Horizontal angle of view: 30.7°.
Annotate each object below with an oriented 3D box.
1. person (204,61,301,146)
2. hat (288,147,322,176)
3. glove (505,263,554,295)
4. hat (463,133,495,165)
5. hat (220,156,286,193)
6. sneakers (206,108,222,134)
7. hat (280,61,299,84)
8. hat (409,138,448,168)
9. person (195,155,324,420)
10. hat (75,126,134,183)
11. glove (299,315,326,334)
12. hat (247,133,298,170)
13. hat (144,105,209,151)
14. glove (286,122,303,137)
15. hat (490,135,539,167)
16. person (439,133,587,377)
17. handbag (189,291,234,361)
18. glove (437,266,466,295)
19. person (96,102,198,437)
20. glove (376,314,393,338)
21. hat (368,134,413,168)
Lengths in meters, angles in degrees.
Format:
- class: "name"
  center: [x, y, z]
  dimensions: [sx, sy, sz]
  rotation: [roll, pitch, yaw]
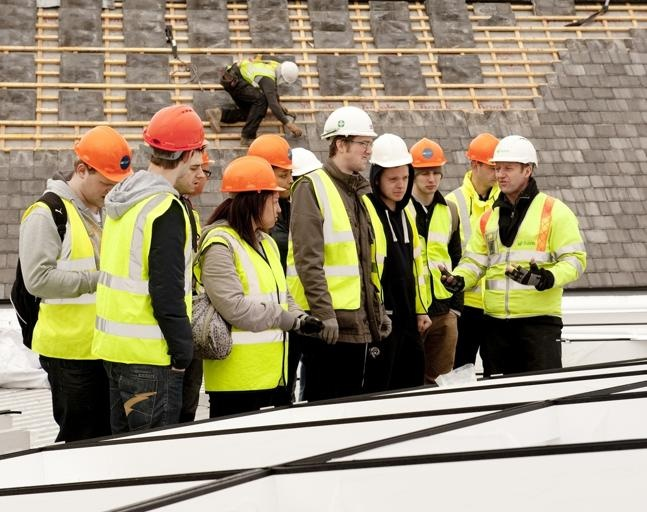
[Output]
- class: "person"
  center: [-0.745, -1.803, 13.469]
  dimensions: [1.081, 0.738, 0.677]
  rotation: [7, 16, 12]
- class: "hat"
  center: [-0.159, -0.789, 9.850]
  dimensions: [0.296, 0.163, 0.355]
  rotation: [-8, 7, -13]
- class: "glove"
  center: [1.437, 0.162, 8.272]
  dimensions: [0.295, 0.115, 0.185]
  rotation: [6, -8, -14]
- class: "hat"
  center: [1.326, -0.893, 9.895]
  dimensions: [0.246, 0.168, 0.295]
  rotation: [11, 16, 23]
- class: "hat"
  center: [-0.480, -0.544, 7.811]
  dimensions: [0.461, 0.215, 0.323]
  rotation: [-3, 15, 2]
- class: "sneakers"
  center: [-1.245, -1.569, 13.599]
  dimensions: [0.154, 0.331, 0.114]
  rotation: [-18, 20, -14]
- class: "hat"
  center: [-0.390, -2.051, 13.304]
  dimensions: [0.091, 0.187, 0.247]
  rotation: [-6, -37, 43]
- class: "hat"
  center: [0.817, -0.809, 9.412]
  dimensions: [0.229, 0.145, 0.270]
  rotation: [-3, 18, -5]
- class: "person"
  center: [-0.454, 0.187, 7.703]
  dimensions: [0.743, 1.676, 0.458]
  rotation: [-3, 3, -10]
- class: "hat"
  center: [-1.403, -0.715, 7.761]
  dimensions: [0.408, 0.252, 0.488]
  rotation: [-4, 27, -30]
- class: "glove"
  center: [-0.089, 0.451, 7.707]
  dimensions: [0.117, 0.094, 0.136]
  rotation: [1, 1, 6]
- class: "hat"
  center: [-0.390, -0.765, 8.737]
  dimensions: [0.316, 0.168, 0.237]
  rotation: [8, 7, 16]
- class: "hat"
  center: [-0.910, -0.747, 7.393]
  dimensions: [0.283, 0.169, 0.343]
  rotation: [26, 37, 30]
- class: "glove"
  center: [-0.333, -1.432, 13.523]
  dimensions: [0.176, 0.057, 0.171]
  rotation: [36, 6, -17]
- class: "hat"
  center: [1.407, -0.763, 8.720]
  dimensions: [0.296, 0.148, 0.216]
  rotation: [5, -2, -34]
- class: "person"
  center: [1.519, -0.007, 8.651]
  dimensions: [0.520, 1.744, 0.781]
  rotation: [-3, 3, -23]
- class: "handbag"
  center: [-0.704, 0.454, 7.491]
  dimensions: [0.239, 0.439, 0.444]
  rotation: [-4, -1, -41]
- class: "glove"
  center: [0.909, 0.167, 8.459]
  dimensions: [0.135, 0.226, 0.078]
  rotation: [-27, 7, 28]
- class: "person"
  center: [-1.072, 0.080, 7.295]
  dimensions: [0.734, 2.008, 0.392]
  rotation: [-2, 3, -6]
- class: "glove"
  center: [0.415, 0.490, 8.169]
  dimensions: [0.118, 0.142, 0.053]
  rotation: [2, 0, -26]
- class: "hat"
  center: [0.466, -0.757, 8.522]
  dimensions: [0.228, 0.153, 0.280]
  rotation: [-2, 6, -11]
